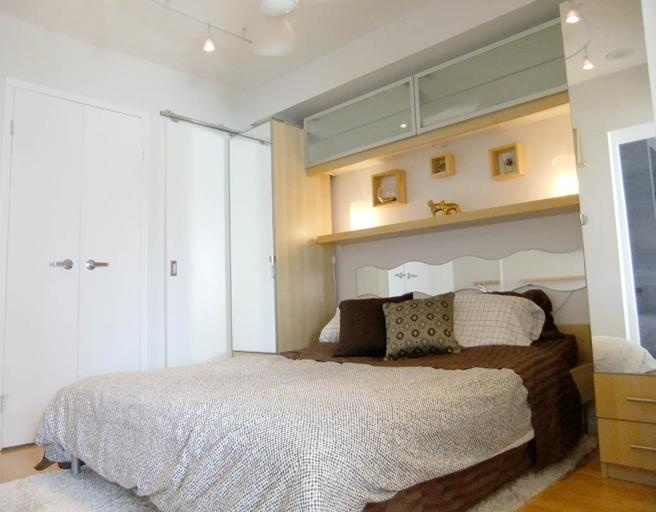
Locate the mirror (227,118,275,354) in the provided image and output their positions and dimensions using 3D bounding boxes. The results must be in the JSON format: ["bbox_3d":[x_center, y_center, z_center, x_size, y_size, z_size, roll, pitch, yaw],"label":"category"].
[{"bbox_3d":[-0.721,-0.153,4.495,0.147,2.093,0.645,1,-6,-43],"label":"mirror"}]

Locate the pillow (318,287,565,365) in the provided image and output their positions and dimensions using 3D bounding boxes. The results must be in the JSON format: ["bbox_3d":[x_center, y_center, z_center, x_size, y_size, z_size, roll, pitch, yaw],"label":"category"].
[{"bbox_3d":[0.793,0.469,3.377,1.140,0.302,0.684,-5,-6,27],"label":"pillow"}]
